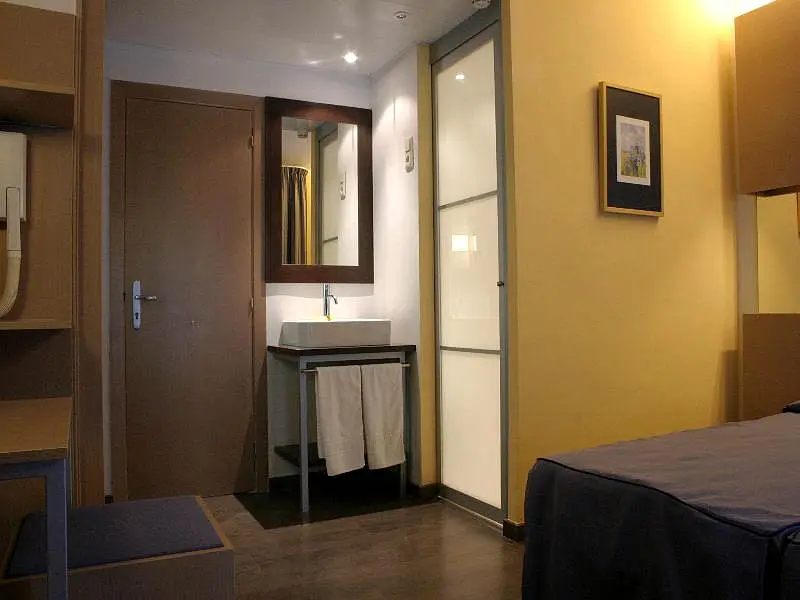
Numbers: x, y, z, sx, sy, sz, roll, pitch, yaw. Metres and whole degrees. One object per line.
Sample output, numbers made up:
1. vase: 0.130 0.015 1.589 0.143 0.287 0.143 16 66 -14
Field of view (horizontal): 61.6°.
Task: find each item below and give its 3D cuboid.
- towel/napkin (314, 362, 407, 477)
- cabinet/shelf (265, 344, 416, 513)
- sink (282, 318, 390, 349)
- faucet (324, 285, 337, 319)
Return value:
1. towel/napkin: -0.233 0.690 4.043 0.638 0.706 0.207 -1 -1 -26
2. cabinet/shelf: -0.407 0.778 4.532 0.860 1.164 0.887 1 -4 -23
3. sink: -0.431 0.210 4.233 0.716 0.172 0.485 0 -1 -1
4. faucet: -0.473 0.015 4.554 0.083 0.235 0.154 0 -1 -5
